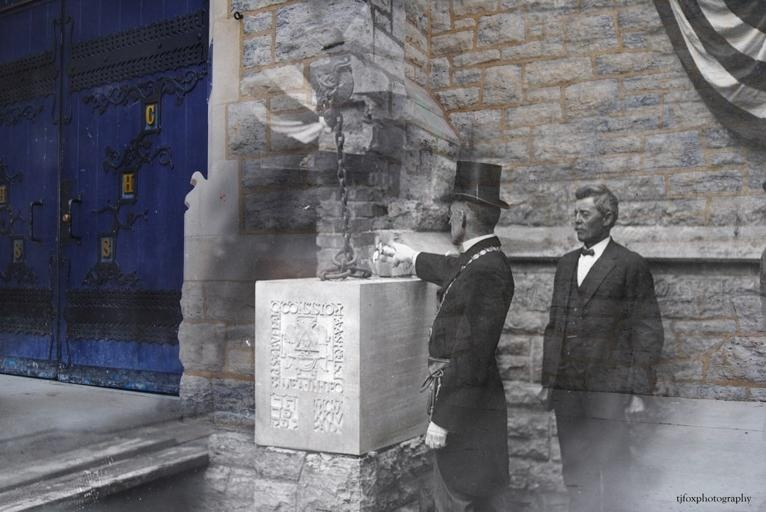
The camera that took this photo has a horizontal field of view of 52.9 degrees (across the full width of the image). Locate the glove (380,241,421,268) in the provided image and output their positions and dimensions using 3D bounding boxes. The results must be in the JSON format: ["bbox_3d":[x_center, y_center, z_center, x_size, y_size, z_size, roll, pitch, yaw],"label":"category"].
[{"bbox_3d":[0.093,-0.006,4.087,0.182,0.105,0.062,21,8,27],"label":"glove"}]

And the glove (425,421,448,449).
[{"bbox_3d":[0.254,0.871,3.784,0.126,0.130,0.126,1,-7,-6],"label":"glove"}]

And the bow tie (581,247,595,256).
[{"bbox_3d":[1.024,-0.021,3.840,0.065,0.034,0.010,0,-5,14],"label":"bow tie"}]

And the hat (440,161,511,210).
[{"bbox_3d":[0.470,-0.357,3.854,0.268,0.148,0.231,13,4,28],"label":"hat"}]
